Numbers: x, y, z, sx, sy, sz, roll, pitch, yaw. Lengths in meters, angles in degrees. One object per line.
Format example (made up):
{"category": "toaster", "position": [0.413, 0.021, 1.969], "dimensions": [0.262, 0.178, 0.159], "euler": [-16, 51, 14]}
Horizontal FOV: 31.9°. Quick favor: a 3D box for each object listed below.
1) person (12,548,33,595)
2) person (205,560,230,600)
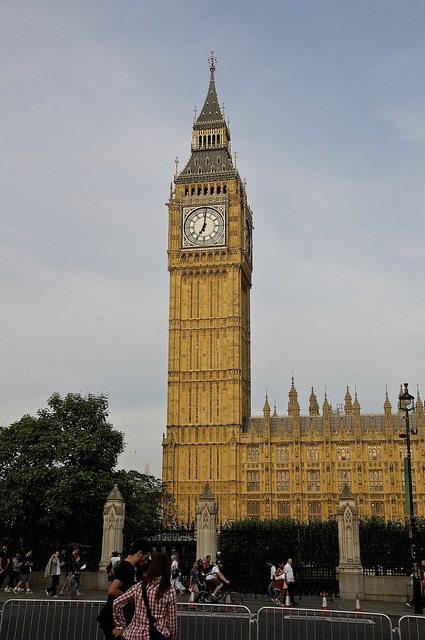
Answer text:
{"category": "person", "position": [-6.329, 8.534, 25.212], "dimensions": [0.526, 1.390, 3.021], "euler": [3, -14, -13]}
{"category": "person", "position": [0.121, 7.106, 20.478], "dimensions": [0.617, 1.035, 0.453], "euler": [4, -6, 3]}
